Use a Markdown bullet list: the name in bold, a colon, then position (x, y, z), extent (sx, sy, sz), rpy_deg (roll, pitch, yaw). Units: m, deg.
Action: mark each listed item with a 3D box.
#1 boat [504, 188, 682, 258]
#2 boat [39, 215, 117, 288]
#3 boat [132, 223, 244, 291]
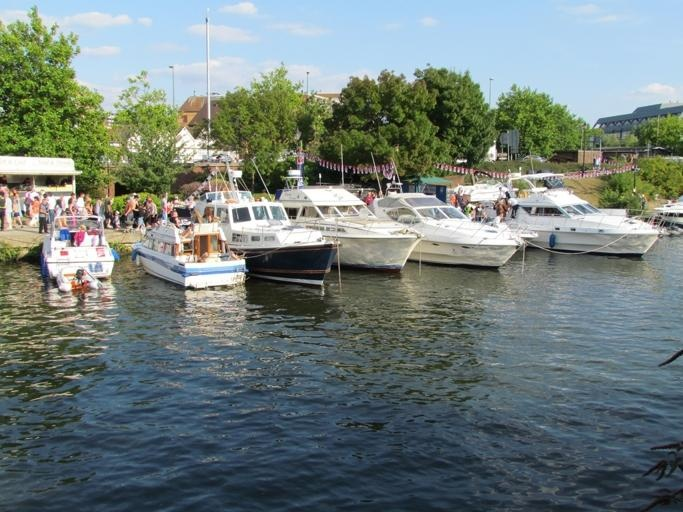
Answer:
- **boat**: position (14.245, -1.965, 36.325), extent (8.499, 2.716, 3.999), rpy_deg (10, 13, 38)
- **boat**: position (-11.889, -0.390, 27.290), extent (2.734, 2.844, 4.537), rpy_deg (-5, 13, -23)
- **boat**: position (-6.824, -0.189, 27.299), extent (2.389, 2.731, 5.311), rpy_deg (-9, 15, -36)
